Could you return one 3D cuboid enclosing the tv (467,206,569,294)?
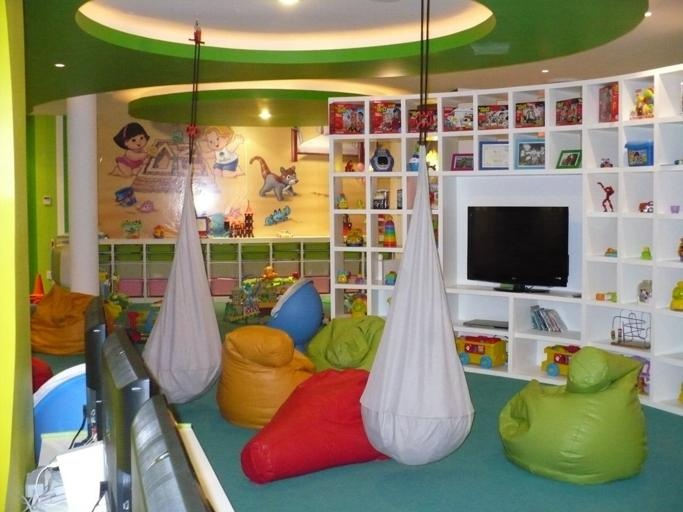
[{"bbox_3d":[1.898,-0.070,5.902,0.871,0.748,0.185,3,6,34],"label":"tv"}]
